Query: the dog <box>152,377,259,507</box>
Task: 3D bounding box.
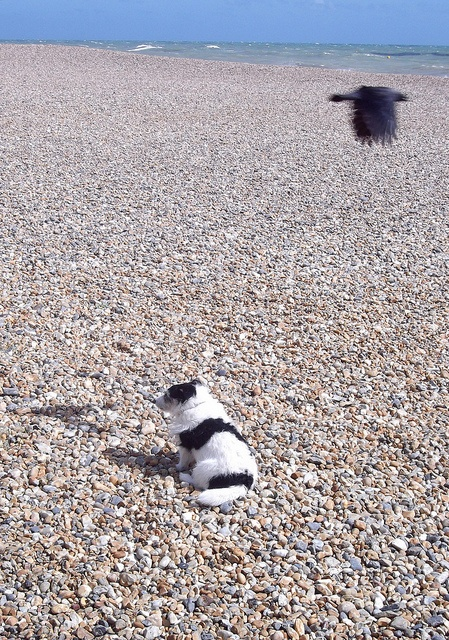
[{"bbox_3d":[-0.086,0.578,3.286,0.412,0.320,0.623,-22,52,-42],"label":"dog"}]
